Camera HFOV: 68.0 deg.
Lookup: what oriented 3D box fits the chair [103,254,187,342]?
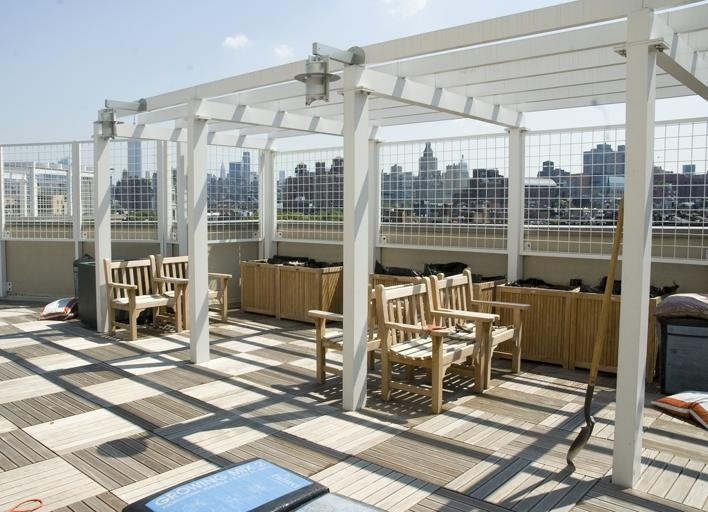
[{"bbox_3d":[-3.354,0.652,8.468,1.026,1.118,0.902,-3,8,-39],"label":"chair"}]

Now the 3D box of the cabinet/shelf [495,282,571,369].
[{"bbox_3d":[2.771,0.886,7.666,0.895,1.070,1.120,-12,16,-44],"label":"cabinet/shelf"}]
